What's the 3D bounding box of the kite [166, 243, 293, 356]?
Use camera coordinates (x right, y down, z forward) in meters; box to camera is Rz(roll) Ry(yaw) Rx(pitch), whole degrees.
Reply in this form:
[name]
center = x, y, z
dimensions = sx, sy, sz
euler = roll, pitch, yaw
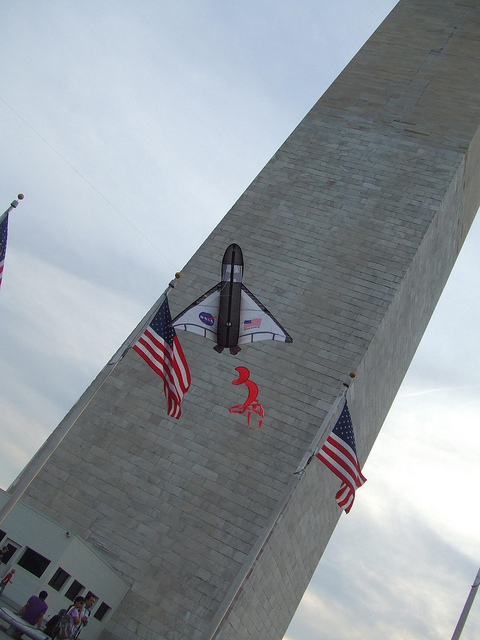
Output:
[kite]
center = -0.215, -0.352, 10.465
dimensions = 2.331, 1.937, 0.353
euler = 5, 12, 11
